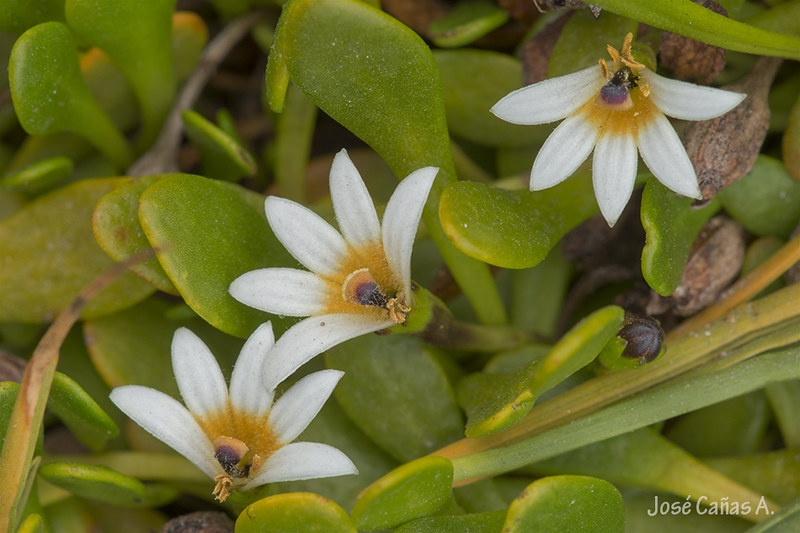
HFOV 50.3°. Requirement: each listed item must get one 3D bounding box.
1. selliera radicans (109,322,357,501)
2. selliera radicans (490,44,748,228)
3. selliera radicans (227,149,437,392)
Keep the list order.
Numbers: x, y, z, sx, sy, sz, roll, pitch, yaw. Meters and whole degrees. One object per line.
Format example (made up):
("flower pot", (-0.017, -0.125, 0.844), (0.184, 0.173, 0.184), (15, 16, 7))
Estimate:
("selliera radicans", (-0.232, 0.201, 1.118), (0.242, 0.092, 0.300), (15, 79, 4))
("selliera radicans", (0.292, -0.238, 1.204), (0.324, 0.193, 0.408), (8, 45, 18))
("selliera radicans", (-0.082, 0.001, 1.146), (0.274, 0.087, 0.327), (16, 93, 17))
